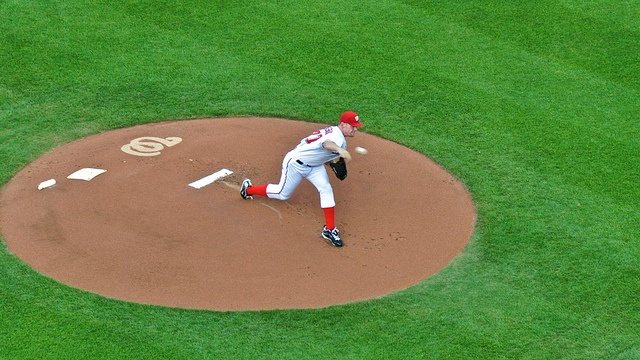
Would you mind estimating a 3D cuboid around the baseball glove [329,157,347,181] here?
[{"bbox_3d":[0.378,-0.271,15.846,0.442,0.476,0.210,-25,21,-39],"label":"baseball glove"}]

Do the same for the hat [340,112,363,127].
[{"bbox_3d":[0.701,-1.422,15.581,0.498,0.250,0.319,15,22,-1],"label":"hat"}]
